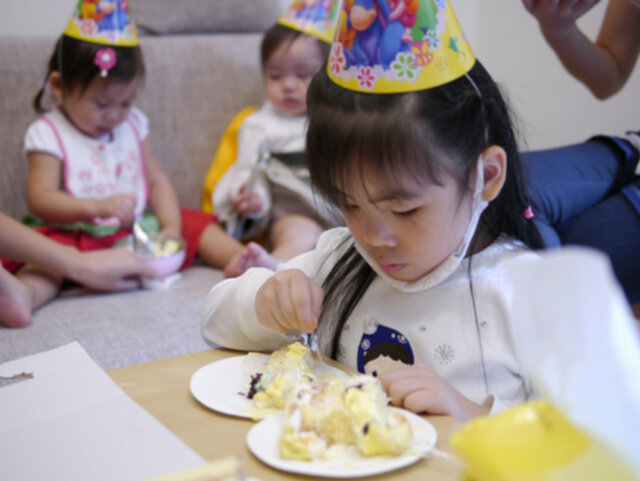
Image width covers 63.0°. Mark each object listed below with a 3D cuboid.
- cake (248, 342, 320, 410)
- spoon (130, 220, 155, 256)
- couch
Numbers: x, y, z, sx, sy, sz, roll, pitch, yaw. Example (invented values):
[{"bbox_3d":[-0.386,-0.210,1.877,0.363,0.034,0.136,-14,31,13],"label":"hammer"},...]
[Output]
[{"bbox_3d":[-0.039,0.189,0.723,0.075,0.048,0.139,-20,12,-4],"label":"cake"},{"bbox_3d":[-0.529,0.008,1.561,0.045,0.126,0.043,-18,6,31],"label":"spoon"},{"bbox_3d":[-0.556,-0.116,1.497,0.422,0.600,0.817,13,17,43],"label":"couch"}]
